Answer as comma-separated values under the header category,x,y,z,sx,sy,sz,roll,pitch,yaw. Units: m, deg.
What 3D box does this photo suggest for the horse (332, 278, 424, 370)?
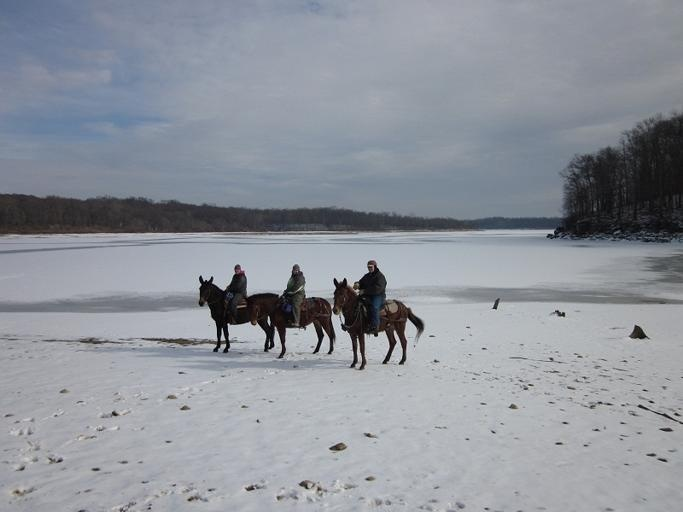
category,x,y,z,sx,sy,sz,roll,pitch,yaw
horse,1.217,2.220,17.181,3.701,2.748,1.246,5,-4,-31

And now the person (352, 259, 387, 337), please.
category,x,y,z,sx,sy,sz,roll,pitch,yaw
person,0.946,1.366,17.087,0.930,2.523,1.474,1,10,3

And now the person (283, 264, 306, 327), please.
category,x,y,z,sx,sy,sz,roll,pitch,yaw
person,-1.573,1.312,17.768,0.714,1.963,0.854,0,11,-7

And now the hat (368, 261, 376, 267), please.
category,x,y,z,sx,sy,sz,roll,pitch,yaw
hat,0.959,0.233,16.742,0.185,0.213,0.264,0,-9,3
